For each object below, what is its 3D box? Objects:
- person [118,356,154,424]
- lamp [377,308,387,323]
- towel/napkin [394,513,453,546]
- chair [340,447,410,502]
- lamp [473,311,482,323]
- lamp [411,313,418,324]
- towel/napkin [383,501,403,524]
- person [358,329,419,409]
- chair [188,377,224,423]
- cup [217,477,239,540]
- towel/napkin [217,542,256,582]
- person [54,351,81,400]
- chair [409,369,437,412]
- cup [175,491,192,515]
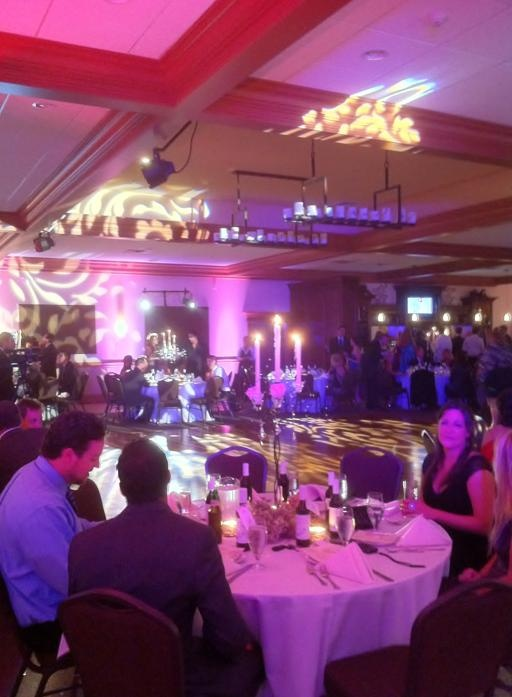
[{"bbox_3d":[-1.880,0.679,8.687,0.518,1.040,0.627,-1,0,-12],"label":"person"},{"bbox_3d":[3.700,-0.879,15.396,0.291,0.295,0.068,3,0,-33],"label":"lamp"},{"bbox_3d":[0.664,0.699,2.074,0.178,0.088,0.131,-4,-6,3],"label":"towel/napkin"},{"bbox_3d":[0.730,0.711,3.234,0.301,0.430,0.341,1,-8,13],"label":"chair"},{"bbox_3d":[7.094,-0.968,16.877,0.282,0.275,0.095,-1,0,-28],"label":"lamp"},{"bbox_3d":[4.752,-0.878,15.795,0.159,0.221,0.105,0,-1,-3],"label":"lamp"},{"bbox_3d":[0.621,0.717,2.381,0.096,0.038,0.126,0,1,12],"label":"towel/napkin"},{"bbox_3d":[2.697,0.407,10.648,0.963,1.220,2.077,-1,0,23],"label":"person"},{"bbox_3d":[-0.715,0.831,9.125,0.591,0.718,0.846,-1,0,20],"label":"chair"},{"bbox_3d":[-0.110,0.687,2.373,0.127,0.226,0.131,0,-2,0],"label":"cup"},{"bbox_3d":[-0.060,0.730,1.862,0.117,0.050,0.179,-6,8,-17],"label":"towel/napkin"},{"bbox_3d":[-3.277,0.581,9.417,0.488,1.006,0.404,3,15,-14],"label":"person"},{"bbox_3d":[3.106,0.758,9.809,0.558,1.018,0.571,3,15,16],"label":"chair"},{"bbox_3d":[-0.294,0.654,2.308,0.062,0.097,0.058,-1,4,0],"label":"cup"}]
